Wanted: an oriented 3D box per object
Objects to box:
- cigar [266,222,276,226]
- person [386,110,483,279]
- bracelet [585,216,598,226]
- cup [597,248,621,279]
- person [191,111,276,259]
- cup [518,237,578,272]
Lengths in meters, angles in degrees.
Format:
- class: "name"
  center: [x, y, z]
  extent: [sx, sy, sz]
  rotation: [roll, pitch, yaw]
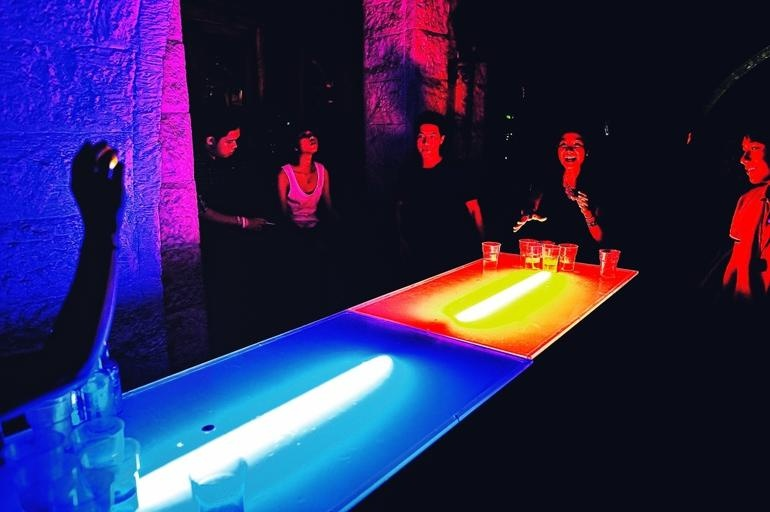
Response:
- class: "cigar"
  center: [-0.865, -0.237, 4.113]
  extent: [0.016, 0.016, 0.065]
  rotation: [36, 23, 27]
- class: "person"
  center: [0.475, -0.492, 4.798]
  extent: [0.776, 1.482, 0.381]
  rotation: [1, 12, 8]
- class: "bracelet"
  center: [1.724, -0.286, 4.557]
  extent: [0.071, 0.061, 0.071]
  rotation: [11, 32, 33]
- class: "cup"
  center: [1.477, 0.041, 3.616]
  extent: [0.117, 0.157, 0.220]
  rotation: [4, 11, 21]
- class: "person"
  center: [-1.075, -0.508, 3.817]
  extent: [0.179, 0.982, 0.595]
  rotation: [7, 13, 32]
- class: "cup"
  center: [1.099, -0.002, 3.677]
  extent: [0.323, 0.129, 0.221]
  rotation: [3, 7, 43]
